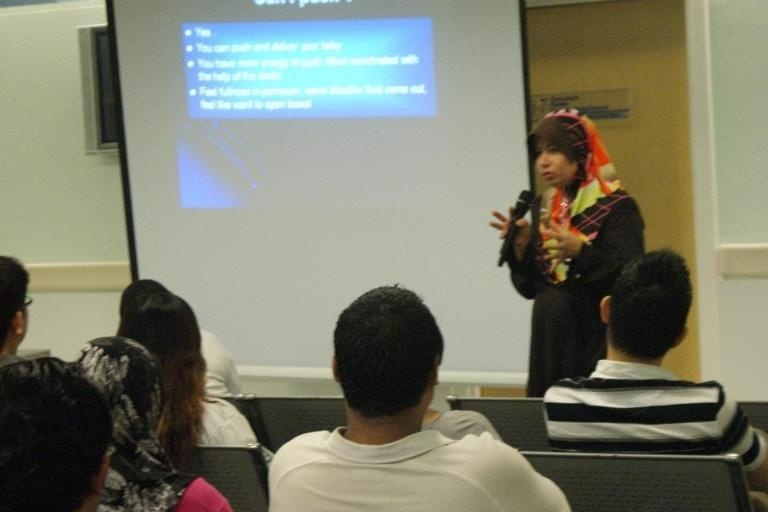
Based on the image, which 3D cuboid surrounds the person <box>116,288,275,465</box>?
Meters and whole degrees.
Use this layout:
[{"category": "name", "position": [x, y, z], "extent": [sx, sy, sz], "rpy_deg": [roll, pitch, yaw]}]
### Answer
[{"category": "person", "position": [-0.691, 0.440, 2.650], "extent": [0.575, 0.732, 0.409], "rpy_deg": [-7, -5, -23]}]

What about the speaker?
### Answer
[{"category": "speaker", "position": [-1.877, -1.085, 4.603], "extent": [0.231, 0.817, 0.089], "rpy_deg": [-1, 8, 9]}]

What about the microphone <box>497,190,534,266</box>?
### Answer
[{"category": "microphone", "position": [0.651, -0.138, 3.456], "extent": [0.085, 0.415, 0.095], "rpy_deg": [19, -16, 31]}]
